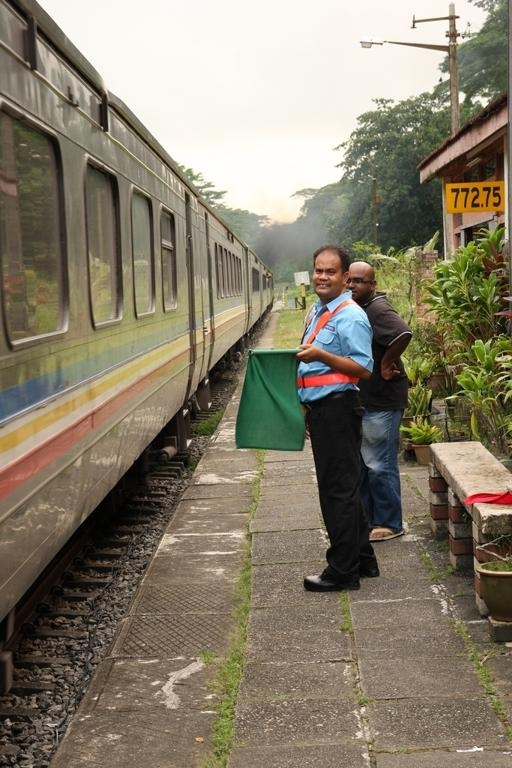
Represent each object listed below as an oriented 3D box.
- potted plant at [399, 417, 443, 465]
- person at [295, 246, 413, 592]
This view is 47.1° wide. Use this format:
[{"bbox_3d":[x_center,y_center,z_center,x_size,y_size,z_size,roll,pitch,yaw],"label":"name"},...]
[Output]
[{"bbox_3d":[1.764,0.573,6.246,0.507,0.540,0.518,3,6,30],"label":"potted plant"},{"bbox_3d":[0.412,0.213,3.141,0.474,1.807,0.624,-4,0,11],"label":"person"}]
